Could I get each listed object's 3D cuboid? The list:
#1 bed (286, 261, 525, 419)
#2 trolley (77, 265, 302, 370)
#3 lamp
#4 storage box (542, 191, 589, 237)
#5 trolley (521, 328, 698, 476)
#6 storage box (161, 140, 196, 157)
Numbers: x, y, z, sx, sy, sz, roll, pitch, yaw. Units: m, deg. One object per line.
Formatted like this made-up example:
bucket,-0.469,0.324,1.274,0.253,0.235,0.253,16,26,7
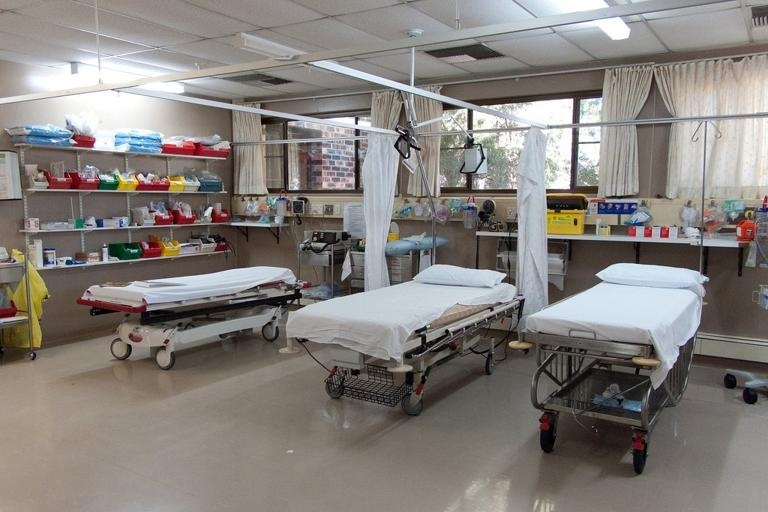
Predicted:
bed,0.375,0.797,5.629,1.474,0.996,2.393,2,4,36
trolley,-2.422,0.756,6.770,1.029,1.024,2.245,13,17,42
lamp,-3.496,-2.395,6.983,1.180,0.444,2.302,-8,14,-32
storage box,2.406,-0.530,7.016,0.838,0.672,0.504,2,3,27
trolley,2.238,1.188,4.953,1.146,0.984,2.075,1,3,41
storage box,-3.280,-1.723,8.336,0.246,0.105,0.347,4,4,38
